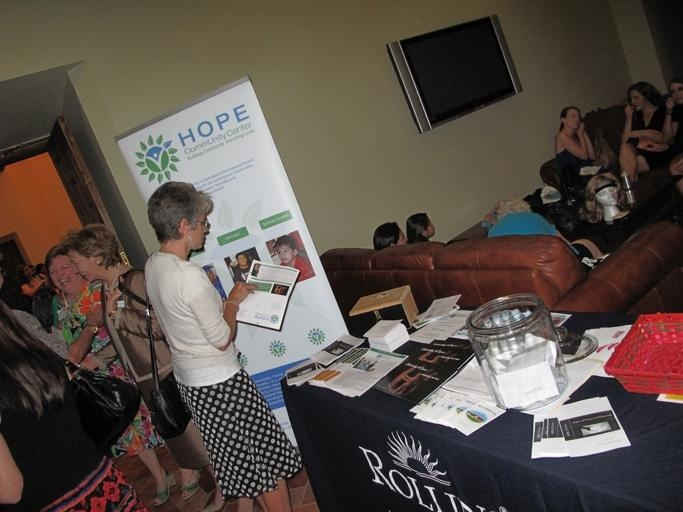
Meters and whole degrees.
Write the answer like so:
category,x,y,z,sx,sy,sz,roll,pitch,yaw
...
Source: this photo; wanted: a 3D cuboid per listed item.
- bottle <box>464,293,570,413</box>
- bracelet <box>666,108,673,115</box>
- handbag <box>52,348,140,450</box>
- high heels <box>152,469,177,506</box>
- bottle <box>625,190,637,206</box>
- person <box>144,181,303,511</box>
category,x,y,z,sx,sy,sz,roll,pitch,yaw
bottle,0.584,0.321,1.471,0.267,0.306,0.242,-15,13,15
bracelet,3.574,-1.578,4.810,0.046,0.050,0.051,2,2,37
handbag,-0.907,0.571,1.688,0.128,0.370,0.292,3,62,51
high heels,-1.262,1.621,3.144,0.111,0.146,0.330,-1,3,6
bottle,2.511,-0.512,3.838,0.063,0.139,0.133,-7,16,40
person,-0.613,0.522,2.195,0.468,1.355,0.311,-21,13,-14
